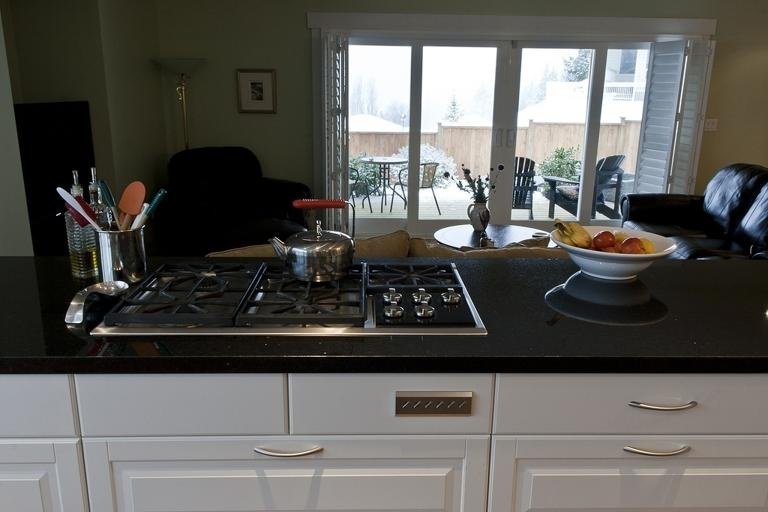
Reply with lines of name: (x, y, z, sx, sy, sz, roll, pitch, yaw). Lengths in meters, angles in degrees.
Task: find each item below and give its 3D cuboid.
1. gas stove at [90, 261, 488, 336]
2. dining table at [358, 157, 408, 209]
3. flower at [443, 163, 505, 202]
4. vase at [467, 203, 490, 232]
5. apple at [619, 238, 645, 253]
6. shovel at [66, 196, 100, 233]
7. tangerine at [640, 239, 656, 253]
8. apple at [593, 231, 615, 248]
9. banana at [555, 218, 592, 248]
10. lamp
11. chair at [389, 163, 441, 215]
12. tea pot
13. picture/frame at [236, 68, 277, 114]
gas stove: (-0.289, 0.132, 2.037, 1.202, 0.111, 0.491, 0, 16, -2)
dining table: (0.010, -0.754, 6.274, 0.513, 0.492, 0.506, -2, 4, -44)
flower: (0.858, -0.641, 5.347, 0.593, 0.358, 0.578, -1, 3, 1)
vase: (0.741, -0.318, 4.785, 0.178, 0.205, 0.218, -3, 11, -7)
apple: (0.865, -0.033, 2.110, 0.070, 0.051, 0.050, 11, -25, 21)
shovel: (-1.082, -0.158, 2.164, 0.074, 0.118, 0.152, -9, 20, -30)
tangerine: (0.935, -0.045, 2.156, 0.045, 0.035, 0.057, -3, 28, 0)
apple: (0.788, -0.059, 2.170, 0.067, 0.046, 0.060, -7, 3, -1)
banana: (0.673, -0.093, 2.203, 0.102, 0.044, 0.131, -20, 36, -37)
lamp: (-1.831, -1.395, 5.564, 0.477, 0.856, 0.530, -1, 18, -7)
chair: (0.338, -0.732, 6.381, 0.411, 0.519, 0.436, 1, 12, -31)
tea pot: (-0.243, -0.070, 2.232, 0.349, 0.287, 0.264, 2, 7, -4)
picture/frame: (-1.206, -1.569, 5.745, 0.404, 0.397, 0.020, -13, 24, -38)
